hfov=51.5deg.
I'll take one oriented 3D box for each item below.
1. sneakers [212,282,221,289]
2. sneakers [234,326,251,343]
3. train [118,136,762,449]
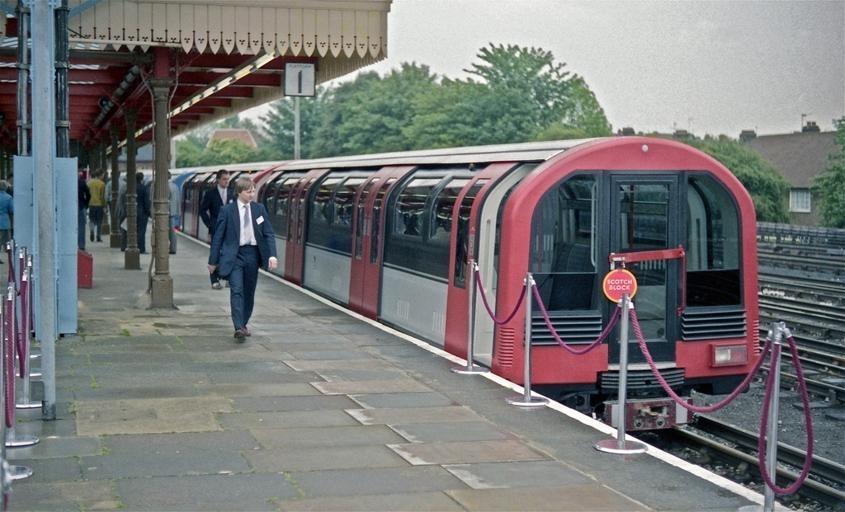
[{"bbox_3d":[-4.440,0.624,18.994,0.172,0.193,0.469,-1,-2,-21],"label":"sneakers"},{"bbox_3d":[-2.868,1.246,13.963,0.134,0.174,0.386,-6,-15,-19],"label":"sneakers"},{"bbox_3d":[-0.892,-0.842,18.246,3.863,3.988,17.199,-5,12,-32],"label":"train"}]
